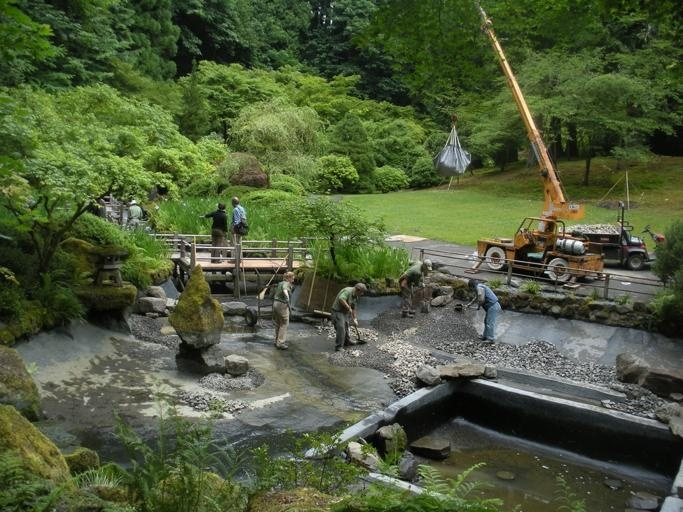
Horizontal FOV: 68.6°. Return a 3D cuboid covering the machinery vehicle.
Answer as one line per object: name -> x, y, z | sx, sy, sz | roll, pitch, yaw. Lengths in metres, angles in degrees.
machinery vehicle -> 6.158, -3.388, 15.640 | 2.018, 8.535, 3.648 | -13, 14, -40

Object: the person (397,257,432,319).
person -> 2.218, 0.866, 15.275 | 0.906, 1.697, 1.431 | -3, 10, 8

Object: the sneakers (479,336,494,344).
sneakers -> 3.932, 2.288, 13.659 | 0.447, 0.232, 0.139 | 3, 14, 25

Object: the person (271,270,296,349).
person -> -1.532, 1.393, 13.222 | 0.620, 1.966, 0.697 | -5, 11, -6

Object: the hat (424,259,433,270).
hat -> 2.505, 0.236, 14.504 | 0.252, 0.168, 0.299 | -14, 52, -11

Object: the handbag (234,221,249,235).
handbag -> -3.606, -1.027, 18.009 | 0.406, 0.440, 0.510 | 7, 2, -14

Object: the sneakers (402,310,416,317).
sneakers -> 2.022, 1.708, 14.942 | 0.450, 0.197, 0.256 | -7, 10, -22
